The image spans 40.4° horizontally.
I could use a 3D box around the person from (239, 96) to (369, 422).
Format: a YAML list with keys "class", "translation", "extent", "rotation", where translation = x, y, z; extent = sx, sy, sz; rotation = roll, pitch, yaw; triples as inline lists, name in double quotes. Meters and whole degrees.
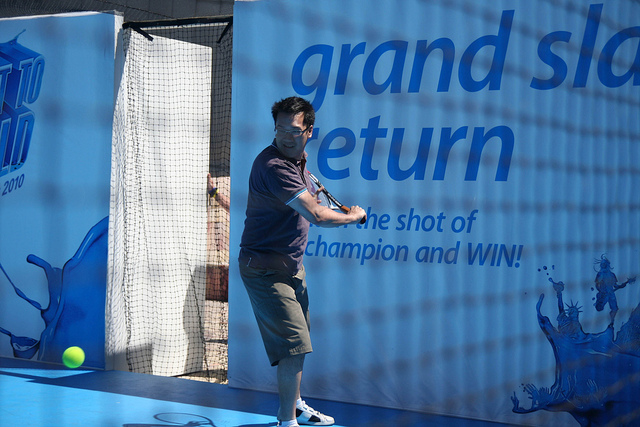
- class: "person"
  translation: [-0.236, 0.355, 6.692]
  extent: [0.756, 2.453, 0.444]
  rotation: [-2, 12, -6]

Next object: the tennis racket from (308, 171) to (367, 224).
- class: "tennis racket"
  translation: [0.074, -0.153, 6.949]
  extent: [0.055, 0.220, 0.798]
  rotation: [-17, 35, -25]
